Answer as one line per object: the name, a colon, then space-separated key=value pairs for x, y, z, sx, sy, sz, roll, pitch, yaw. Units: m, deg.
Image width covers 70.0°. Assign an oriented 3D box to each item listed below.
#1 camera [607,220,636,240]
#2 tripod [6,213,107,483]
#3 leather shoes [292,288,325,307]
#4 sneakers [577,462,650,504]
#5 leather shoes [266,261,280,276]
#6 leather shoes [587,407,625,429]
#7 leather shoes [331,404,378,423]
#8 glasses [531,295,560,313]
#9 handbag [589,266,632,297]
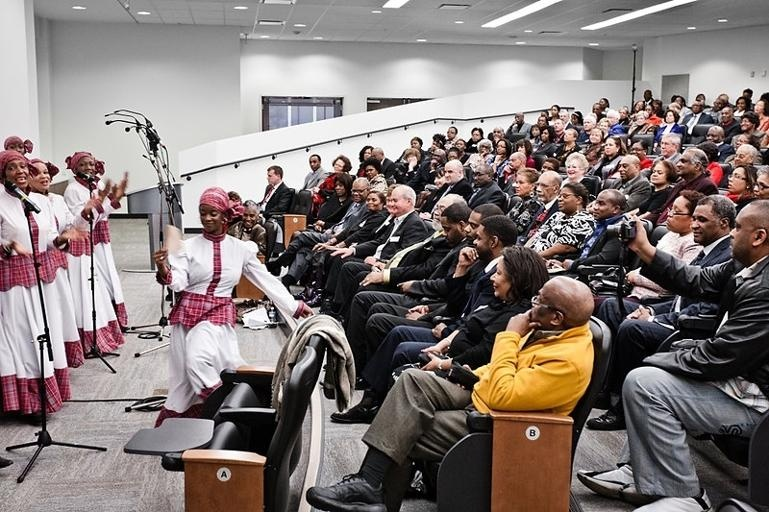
camera: x=1.374 y=-0.143 z=3.141 sx=0.099 sy=0.080 sz=0.136 roll=0 pitch=3 yaw=2
tripod: x=-2.344 y=0.497 z=3.621 sx=0.919 sy=1.581 sz=0.513 roll=9 pitch=14 yaw=43
leather shoes: x=-0.893 y=0.517 z=6.759 sx=0.256 sy=0.142 sz=0.409 roll=0 pitch=-11 yaw=22
sneakers: x=1.262 y=1.233 z=3.075 sx=0.408 sy=0.165 sz=0.161 roll=5 pitch=1 yaw=31
leather shoes: x=-1.400 y=0.148 z=6.948 sx=0.201 sy=0.191 sz=0.168 roll=7 pitch=-6 yaw=-33
leather shoes: x=1.543 y=1.135 z=3.814 sx=0.301 sy=0.127 sz=0.110 roll=2 pitch=-8 yaw=-8
leather shoes: x=-0.186 y=1.132 z=3.980 sx=0.389 sy=0.166 sz=0.130 roll=2 pitch=-8 yaw=-2
glasses: x=0.776 y=0.228 z=2.654 sx=0.053 sy=0.086 sz=0.179 roll=-8 pitch=12 yaw=-35
handbag: x=1.791 y=0.196 z=4.359 sx=0.295 sy=0.118 sz=0.249 roll=-1 pitch=14 yaw=4
